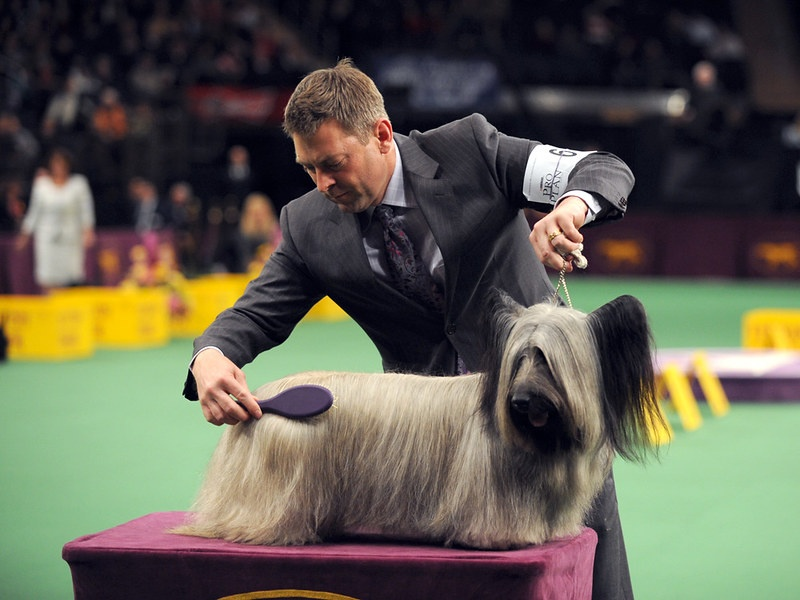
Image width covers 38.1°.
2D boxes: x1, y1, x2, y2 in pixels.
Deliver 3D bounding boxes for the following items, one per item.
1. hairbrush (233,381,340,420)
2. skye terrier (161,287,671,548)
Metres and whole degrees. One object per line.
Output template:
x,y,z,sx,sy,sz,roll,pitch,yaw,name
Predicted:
-0.665,0.573,7.013,0.308,0.237,0.458,9,11,41,hairbrush
0.298,0.976,7.450,3.361,1.922,1.384,-2,-9,6,skye terrier
